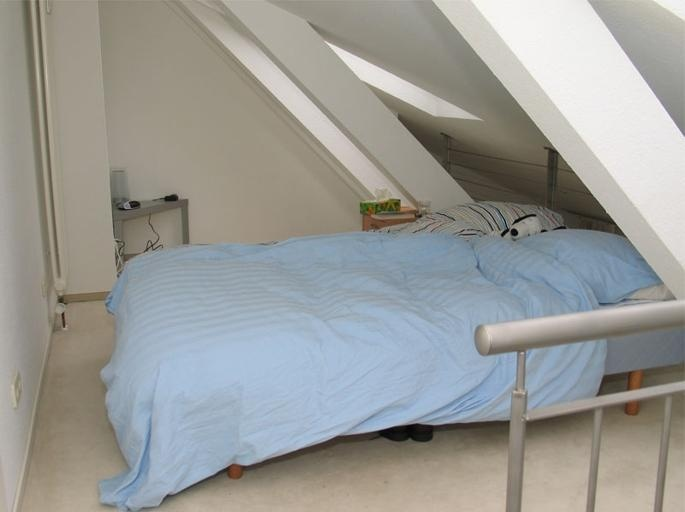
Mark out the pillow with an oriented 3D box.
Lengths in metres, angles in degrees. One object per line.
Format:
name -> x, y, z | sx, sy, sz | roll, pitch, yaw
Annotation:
pillow -> 1.073, -0.066, 2.914 | 0.719, 0.446, 1.421 | -6, 7, -19

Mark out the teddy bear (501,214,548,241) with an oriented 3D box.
teddy bear -> 1.029, -0.174, 3.033 | 0.221, 0.083, 0.159 | -23, 36, -6

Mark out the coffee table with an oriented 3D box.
coffee table -> -1.672, -0.277, 4.845 | 0.536, 0.297, 0.281 | -9, 3, -14
